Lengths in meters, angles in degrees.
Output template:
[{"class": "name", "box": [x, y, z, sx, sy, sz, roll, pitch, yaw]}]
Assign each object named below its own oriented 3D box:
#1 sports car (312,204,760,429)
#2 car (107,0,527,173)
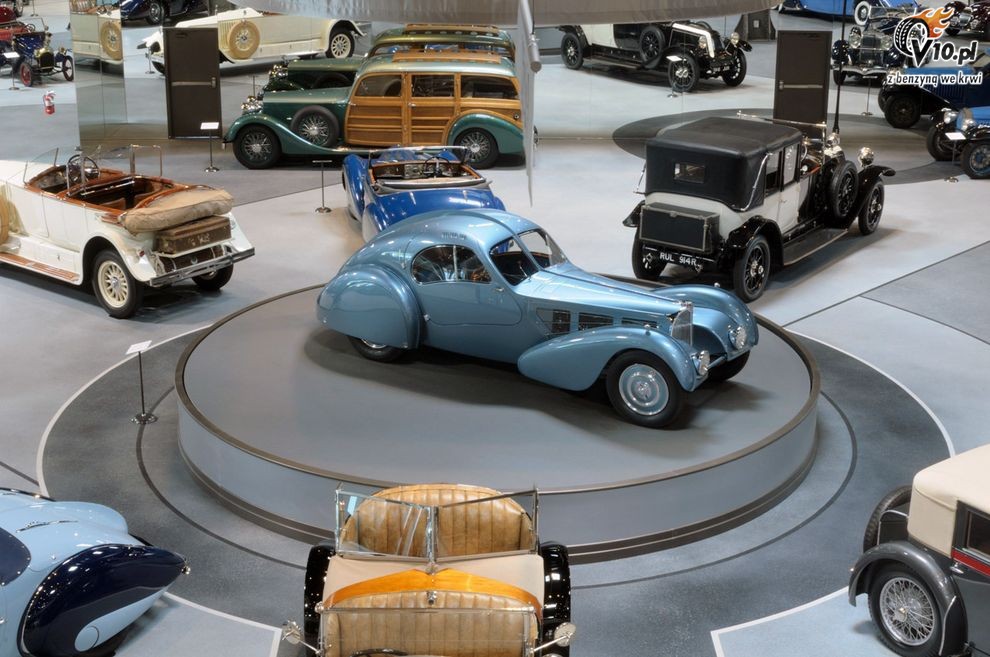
[{"class": "sports car", "box": [0.236, -0.168, 7.587, 4.418, 1.604, 1.841, 11, 33, 19]}, {"class": "car", "box": [-2.357, -4.920, 15.591, 5.800, 2.763, 2.704, 1, 22, 1]}]
